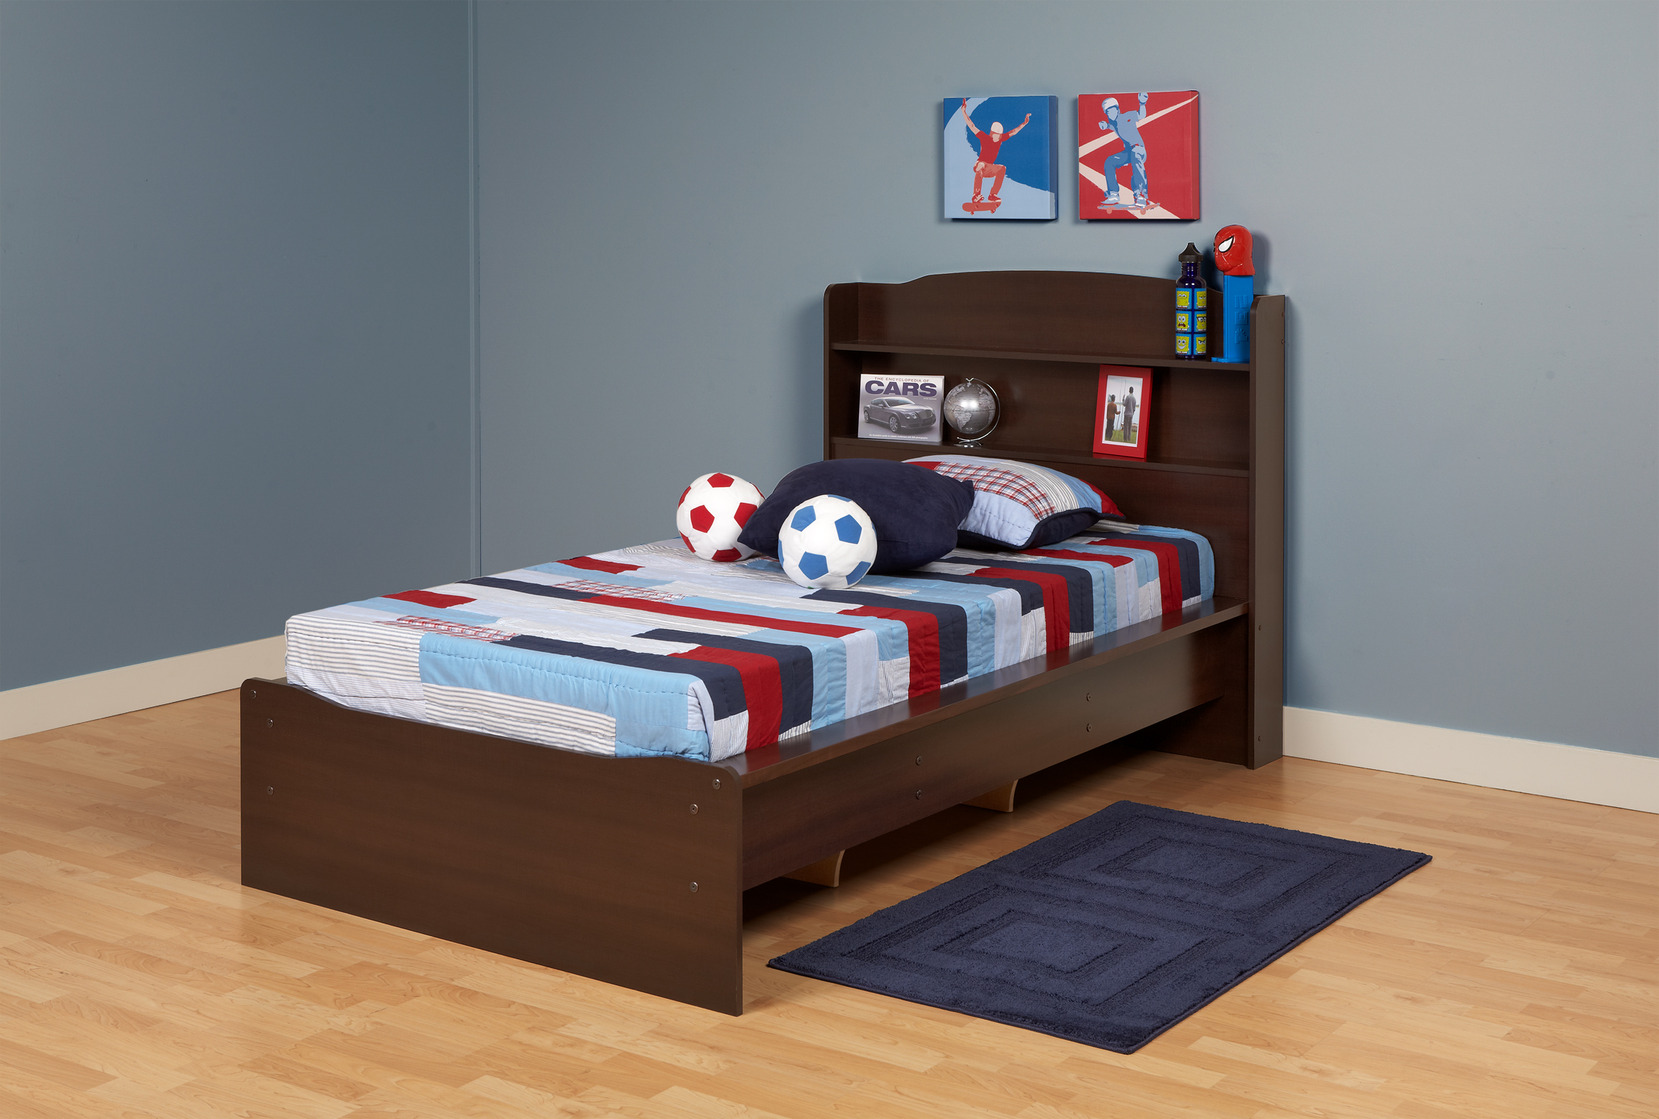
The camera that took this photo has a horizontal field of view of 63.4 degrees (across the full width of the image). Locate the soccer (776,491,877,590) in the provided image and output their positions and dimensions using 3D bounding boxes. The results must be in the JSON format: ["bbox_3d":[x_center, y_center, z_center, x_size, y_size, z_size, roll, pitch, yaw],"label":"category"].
[{"bbox_3d":[0.023,-0.033,3.844,0.286,0.266,0.242,-8,54,32],"label":"soccer"}]

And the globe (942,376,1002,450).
[{"bbox_3d":[0.526,-0.525,4.858,0.295,0.264,0.152,5,12,25],"label":"globe"}]

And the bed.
[{"bbox_3d":[-0.020,-0.028,4.070,2.093,1.500,2.943,6,8,36],"label":"bed"}]

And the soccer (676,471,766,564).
[{"bbox_3d":[-0.321,-0.106,4.208,0.275,0.255,0.254,12,24,21],"label":"soccer"}]

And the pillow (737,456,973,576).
[{"bbox_3d":[0.165,-0.161,3.984,0.495,0.130,0.427,2,20,29],"label":"pillow"}]
